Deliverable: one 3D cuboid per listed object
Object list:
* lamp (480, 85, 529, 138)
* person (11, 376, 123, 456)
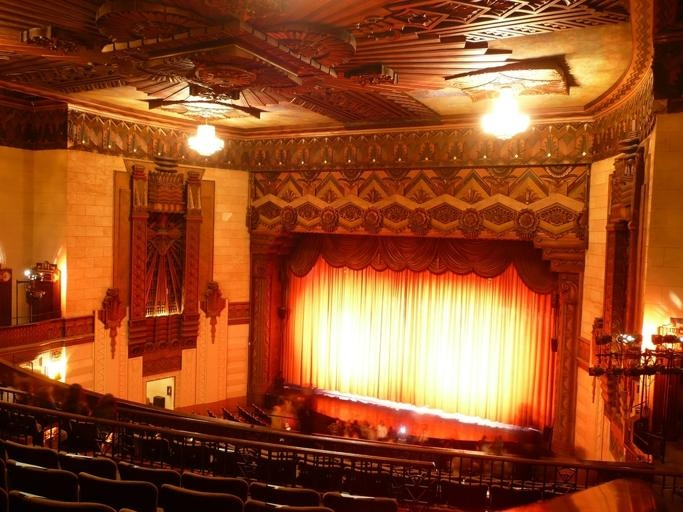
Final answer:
[{"bbox_3d":[2.952,-2.611,11.652,0.692,1.063,0.702,-8,-17,44],"label":"lamp"},{"bbox_3d":[-3.894,2.245,9.029,1.063,1.025,0.750,15,23,8],"label":"person"}]
